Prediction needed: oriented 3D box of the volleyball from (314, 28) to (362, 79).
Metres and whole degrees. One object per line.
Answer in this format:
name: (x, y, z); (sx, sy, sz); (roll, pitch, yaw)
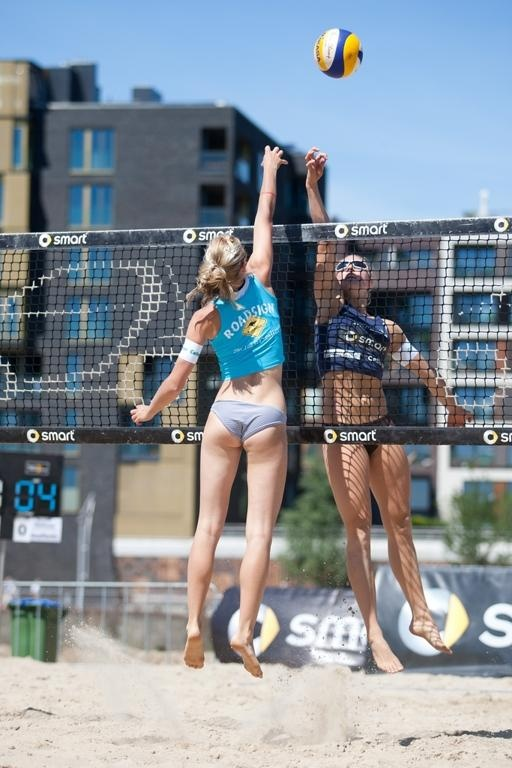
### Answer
volleyball: (0.531, -2.193, 8.888); (0.297, 0.308, 0.126); (2, 2, 7)

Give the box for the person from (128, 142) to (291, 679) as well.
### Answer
person: (-0.196, 0.267, 8.149); (0.751, 3.010, 0.730); (2, 2, 0)

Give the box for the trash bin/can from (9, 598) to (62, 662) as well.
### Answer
trash bin/can: (-2.171, 2.399, 13.080); (0.472, 0.634, 0.464); (1, -2, -1)
